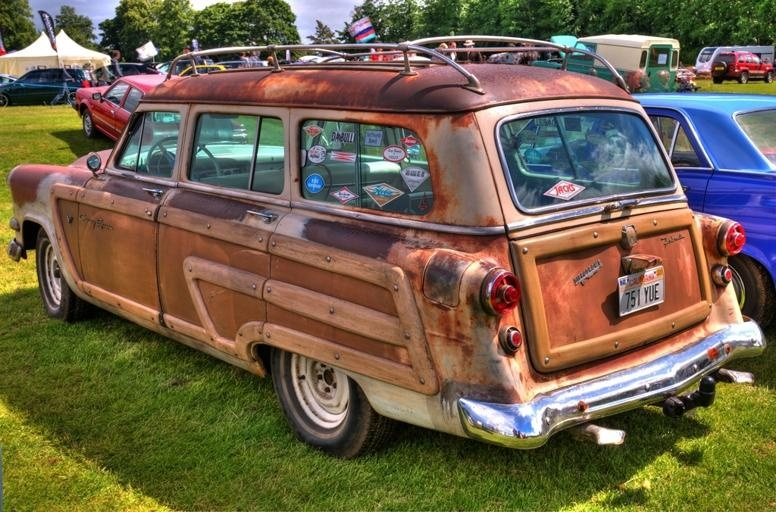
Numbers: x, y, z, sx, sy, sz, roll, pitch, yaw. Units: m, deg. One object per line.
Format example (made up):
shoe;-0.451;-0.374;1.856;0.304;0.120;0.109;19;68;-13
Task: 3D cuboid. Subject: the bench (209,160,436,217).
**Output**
bench;-0.180;-0.520;3.830;1.094;0.402;0.117;7;20;30

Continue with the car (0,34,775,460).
car;-0.163;-0.215;4.514;5.612;2.973;2.062;7;20;30
